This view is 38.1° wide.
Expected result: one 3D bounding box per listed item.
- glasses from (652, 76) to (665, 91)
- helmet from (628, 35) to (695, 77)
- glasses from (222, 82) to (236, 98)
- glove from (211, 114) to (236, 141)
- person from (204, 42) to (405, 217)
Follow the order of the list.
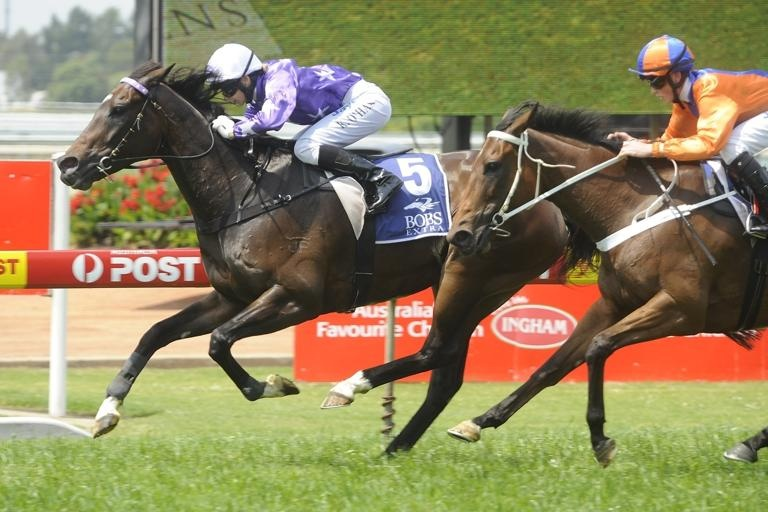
[{"bbox_3d":[1.691,-1.066,6.893,0.077,0.064,0.050,1,-8,37],"label":"glasses"},{"bbox_3d":[1.703,-1.254,6.927,0.459,0.181,0.248,-13,32,-10],"label":"helmet"},{"bbox_3d":[-1.013,-1.092,7.339,0.100,0.070,0.090,-8,-8,22],"label":"glasses"},{"bbox_3d":[-1.022,-0.829,7.197,0.187,0.053,0.144,42,62,17],"label":"glove"},{"bbox_3d":[-0.653,-0.864,7.433,1.464,0.798,0.673,5,8,-32],"label":"person"}]
